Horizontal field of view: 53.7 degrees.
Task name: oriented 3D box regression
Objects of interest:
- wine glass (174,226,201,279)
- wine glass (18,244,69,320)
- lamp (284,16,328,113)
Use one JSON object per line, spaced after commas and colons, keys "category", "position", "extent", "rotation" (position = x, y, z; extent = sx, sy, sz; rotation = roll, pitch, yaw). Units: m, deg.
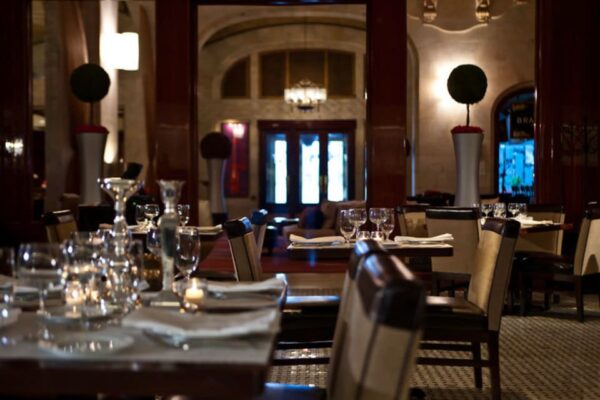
{"category": "wine glass", "position": [-0.548, 0.282, 2.871], "extent": [0.117, 0.290, 0.439], "rotation": [0, 9, -12]}
{"category": "wine glass", "position": [-1.142, 0.333, 2.613], "extent": [0.279, 0.341, 0.285], "rotation": [3, 7, -19]}
{"category": "lamp", "position": [0.086, -2.370, 11.032], "extent": [0.889, 1.319, 0.877], "rotation": [-3, 2, -42]}
